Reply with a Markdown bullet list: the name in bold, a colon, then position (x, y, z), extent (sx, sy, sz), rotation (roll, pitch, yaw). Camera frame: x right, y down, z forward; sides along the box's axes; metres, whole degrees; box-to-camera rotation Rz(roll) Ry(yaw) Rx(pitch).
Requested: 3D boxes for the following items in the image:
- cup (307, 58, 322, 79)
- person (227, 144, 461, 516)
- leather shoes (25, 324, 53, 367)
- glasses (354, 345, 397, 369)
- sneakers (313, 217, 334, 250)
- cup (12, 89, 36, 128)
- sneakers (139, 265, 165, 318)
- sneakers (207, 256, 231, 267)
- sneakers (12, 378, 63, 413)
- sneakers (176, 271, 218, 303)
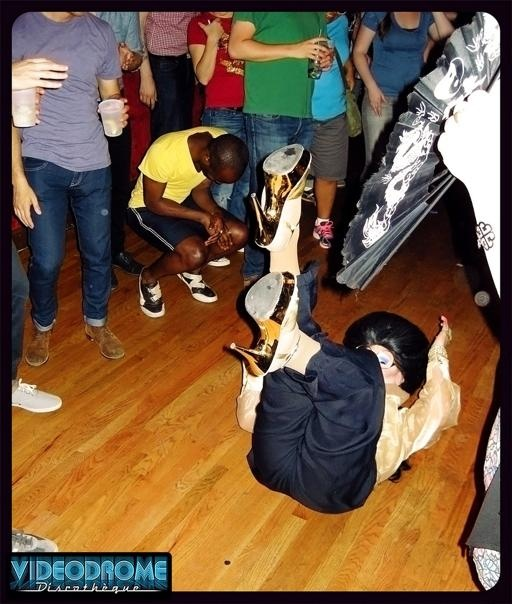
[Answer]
- **cup**: position (0.306, -1.202, 2.379), extent (0.067, 0.089, 0.088), rotation (0, 0, -3)
- **person**: position (0.281, 0.097, 1.627), extent (0.699, 1.081, 0.810), rotation (4, 26, 38)
- **leather shoes**: position (-1.081, 0.211, 2.312), extent (0.090, 0.092, 0.239), rotation (5, 33, -16)
- **glasses**: position (0.458, 0.220, 1.733), extent (0.107, 0.035, 0.111), rotation (24, 2, 38)
- **sneakers**: position (0.506, -0.513, 3.411), extent (0.098, 0.122, 0.283), rotation (-18, 49, -5)
- **cup**: position (-0.840, -0.702, 1.675), extent (0.092, 0.121, 0.085), rotation (4, 10, -1)
- **sneakers**: position (-0.628, -0.023, 2.727), extent (0.132, 0.129, 0.251), rotation (30, 31, -25)
- **sneakers**: position (-0.243, -0.284, 3.169), extent (0.139, 0.061, 0.061), rotation (-4, 31, 0)
- **sneakers**: position (-0.927, 0.423, 2.054), extent (0.264, 0.094, 0.096), rotation (16, 27, -12)
- **sneakers**: position (-0.351, -0.092, 2.865), extent (0.300, 0.119, 0.119), rotation (42, 52, 10)
